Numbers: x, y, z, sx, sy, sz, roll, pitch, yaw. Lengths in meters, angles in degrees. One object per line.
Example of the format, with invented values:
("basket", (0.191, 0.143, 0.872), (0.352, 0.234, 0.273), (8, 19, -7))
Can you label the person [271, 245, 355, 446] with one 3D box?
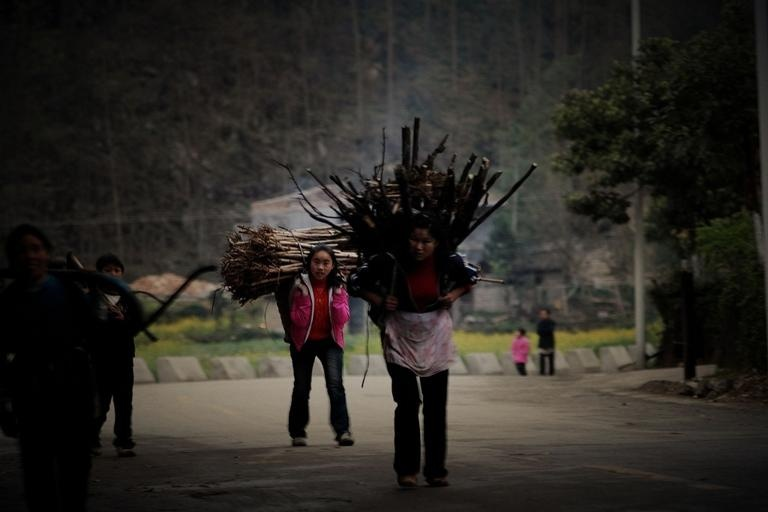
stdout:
("person", (-0.803, 1.058, 14.079), (0.807, 2.387, 0.610), (-4, 9, -4))

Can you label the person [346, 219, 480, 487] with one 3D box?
("person", (0.343, 1.071, 12.662), (1.190, 2.741, 0.556), (-4, 9, -2))
